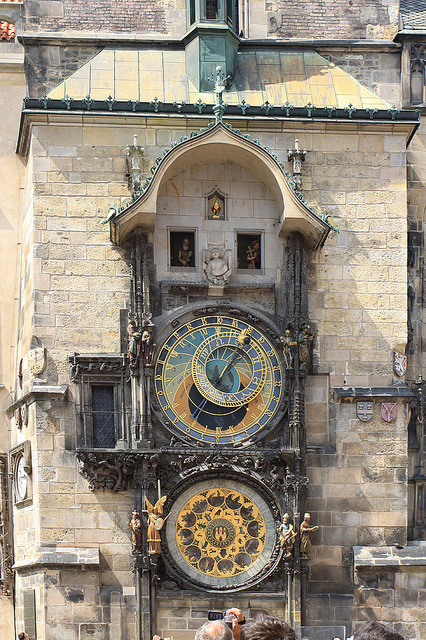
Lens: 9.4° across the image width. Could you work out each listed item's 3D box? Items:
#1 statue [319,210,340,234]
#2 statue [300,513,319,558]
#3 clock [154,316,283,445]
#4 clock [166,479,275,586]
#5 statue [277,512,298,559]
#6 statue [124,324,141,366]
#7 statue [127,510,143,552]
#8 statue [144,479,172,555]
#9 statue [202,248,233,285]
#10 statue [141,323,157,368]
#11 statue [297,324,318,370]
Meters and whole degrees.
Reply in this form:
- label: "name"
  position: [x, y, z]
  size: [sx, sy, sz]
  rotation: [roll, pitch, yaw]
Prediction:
- label: "statue"
  position: [1.825, -1.386, 39.626]
  size: [0.344, 0.085, 0.199]
  rotation: [49, -28, -8]
- label: "statue"
  position: [1.459, 3.382, 39.024]
  size: [0.267, 0.599, 0.530]
  rotation: [-10, -18, 22]
- label: "clock"
  position: [0.031, 1.109, 39.526]
  size: [1.751, 1.950, 0.225]
  rotation: [0, -14, -9]
- label: "clock"
  position: [0.091, 3.377, 39.081]
  size: [1.410, 1.585, 0.081]
  rotation: [1, -7, 0]
- label: "statue"
  position: [1.146, 3.376, 38.942]
  size: [0.265, 0.617, 0.306]
  rotation: [3, -17, -18]
- label: "statue"
  position: [-1.200, 0.460, 39.317]
  size: [0.202, 0.628, 0.275]
  rotation: [-2, -16, -3]
- label: "statue"
  position: [-1.162, 3.246, 38.756]
  size: [0.195, 0.641, 0.261]
  rotation: [-3, -16, 2]
- label: "statue"
  position: [-0.859, 3.141, 38.782]
  size: [0.376, 0.896, 0.189]
  rotation: [-5, -19, 15]
- label: "statue"
  position: [0.060, -0.702, 39.962]
  size: [0.455, 0.659, 0.228]
  rotation: [1, -28, -3]
- label: "statue"
  position: [-0.982, 0.479, 39.398]
  size: [0.214, 0.678, 0.407]
  rotation: [-4, -17, 4]
- label: "statue"
  position: [1.437, 0.523, 39.666]
  size: [0.215, 0.685, 0.355]
  rotation: [-14, -20, 33]
